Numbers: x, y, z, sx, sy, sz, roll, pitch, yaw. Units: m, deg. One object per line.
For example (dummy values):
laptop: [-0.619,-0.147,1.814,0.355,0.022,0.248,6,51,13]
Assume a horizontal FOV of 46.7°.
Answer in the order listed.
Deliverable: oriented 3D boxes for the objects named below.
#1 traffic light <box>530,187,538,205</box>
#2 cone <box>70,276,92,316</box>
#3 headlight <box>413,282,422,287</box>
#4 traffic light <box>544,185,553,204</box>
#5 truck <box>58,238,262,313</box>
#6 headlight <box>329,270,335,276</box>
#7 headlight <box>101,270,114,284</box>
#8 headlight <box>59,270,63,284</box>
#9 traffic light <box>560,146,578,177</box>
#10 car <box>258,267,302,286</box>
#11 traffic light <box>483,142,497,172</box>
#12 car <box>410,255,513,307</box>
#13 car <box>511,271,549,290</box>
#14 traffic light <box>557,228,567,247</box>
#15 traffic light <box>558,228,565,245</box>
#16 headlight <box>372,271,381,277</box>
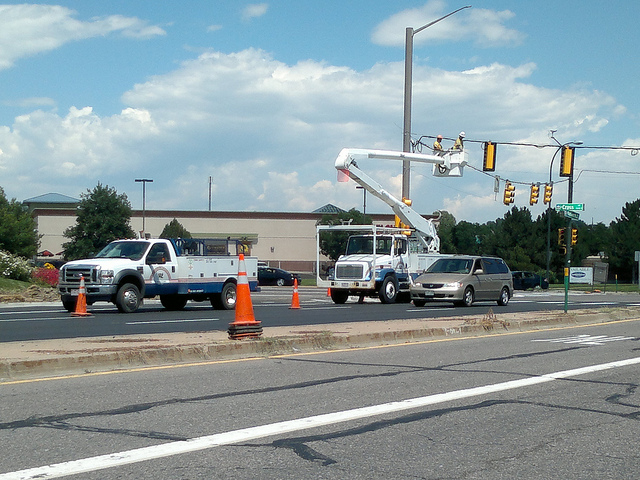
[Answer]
traffic light: [12.454,-2.502,43.213,0.418,0.924,0.710,1,0,16]
cone: [-6.899,1.709,21.385,0.850,1.092,0.818,2,-8,-6]
headlight: [3.567,1.701,27.452,0.159,0.151,0.392,1,0,-44]
traffic light: [13.709,-2.733,44.679,0.358,1.002,0.747,1,0,16]
truck: [-5.222,1.195,24.384,3.002,2.247,6.310,-4,-7,41]
headlight: [0.458,1.376,30.105,0.198,0.198,0.353,-1,-13,6]
headlight: [-6.374,1.127,22.088,0.349,0.423,0.090,1,0,-39]
headlight: [-7.948,1.153,22.633,0.090,0.442,0.370,1,0,-20]
traffic light: [11.649,-3.698,34.916,0.652,1.342,1.648,1,0,17]
car: [-3.363,2.956,57.452,3.805,1.308,1.755,-2,-2,11]
traffic light: [7.850,-3.811,34.326,0.481,1.276,0.393,1,0,20]
car: [5.436,1.605,28.270,1.906,1.489,3.471,-4,-7,40]
car: [15.370,3.021,54.092,3.205,1.020,1.452,-2,2,-23]
traffic light: [7.611,-0.045,23.302,0.191,0.543,1.564,1,0,19]
traffic light: [7.637,-0.068,23.411,0.150,0.439,0.599,1,0,18]
headlight: [2.169,1.388,29.260,0.211,0.121,0.309,-2,1,21]
